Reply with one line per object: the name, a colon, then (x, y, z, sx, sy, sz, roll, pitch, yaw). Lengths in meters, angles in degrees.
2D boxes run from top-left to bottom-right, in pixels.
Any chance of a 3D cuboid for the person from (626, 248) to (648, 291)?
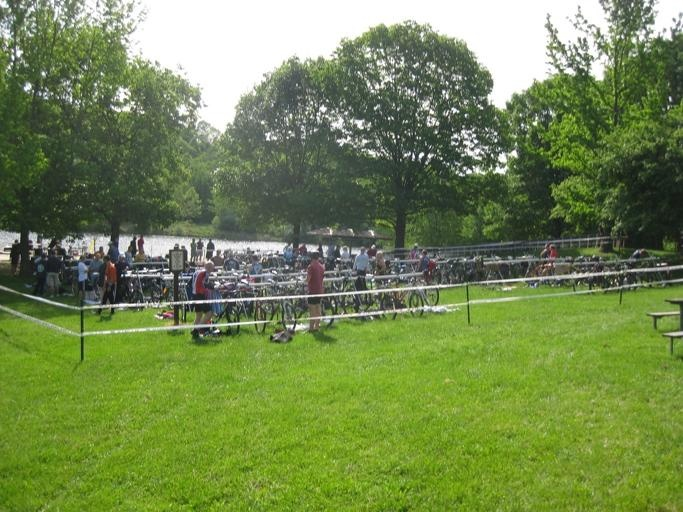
person: (13.586, 0.680, 31.260, 0.542, 1.926, 0.677, 14, -38, 28)
